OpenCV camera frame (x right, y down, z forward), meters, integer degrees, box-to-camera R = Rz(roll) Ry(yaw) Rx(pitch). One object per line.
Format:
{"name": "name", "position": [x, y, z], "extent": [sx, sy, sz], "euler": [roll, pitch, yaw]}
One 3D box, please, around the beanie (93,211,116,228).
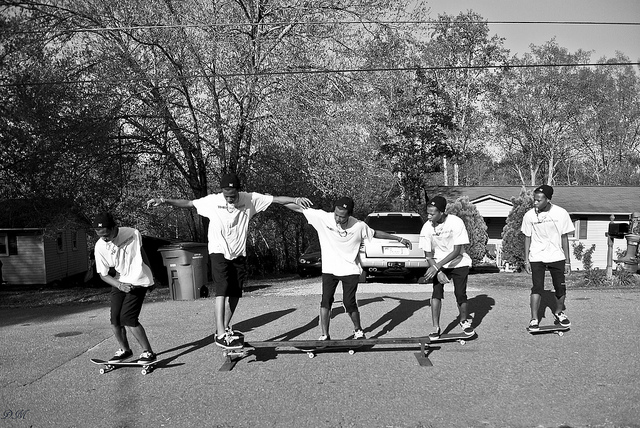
{"name": "beanie", "position": [-3.809, 0.095, 10.298], "extent": [0.338, 0.271, 0.244], "euler": [-2, 1, -17]}

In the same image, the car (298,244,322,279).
{"name": "car", "position": [-0.387, 1.921, 23.960], "extent": [0.796, 0.815, 1.951], "euler": [-2, -7, 1]}

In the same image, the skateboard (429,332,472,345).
{"name": "skateboard", "position": [2.545, 2.344, 11.199], "extent": [1.057, 0.188, 0.306], "euler": [-1, 12, -3]}

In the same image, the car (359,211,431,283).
{"name": "car", "position": [2.060, 0.747, 16.006], "extent": [1.375, 1.340, 2.540], "euler": [0, 2, 2]}

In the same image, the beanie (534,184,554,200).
{"name": "beanie", "position": [4.474, -0.441, 11.637], "extent": [0.310, 0.189, 0.271], "euler": [10, 2, 7]}

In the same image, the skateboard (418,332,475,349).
{"name": "skateboard", "position": [2.561, 2.345, 11.210], "extent": [1.340, 0.231, 0.355], "euler": [-1, 13, -1]}

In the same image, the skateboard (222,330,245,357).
{"name": "skateboard", "position": [-1.598, 2.424, 10.808], "extent": [0.376, 0.449, 0.563], "euler": [-2, 1, -13]}

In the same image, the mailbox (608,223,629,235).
{"name": "mailbox", "position": [8.567, 0.422, 16.749], "extent": [0.473, 0.339, 0.334], "euler": [-2, 1, 16]}

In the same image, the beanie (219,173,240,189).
{"name": "beanie", "position": [-1.705, -0.601, 10.882], "extent": [0.351, 0.281, 0.244], "euler": [-2, 1, -2]}

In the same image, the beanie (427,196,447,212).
{"name": "beanie", "position": [2.263, -0.217, 11.222], "extent": [0.315, 0.201, 0.248], "euler": [22, 8, -2]}

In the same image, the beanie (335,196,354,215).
{"name": "beanie", "position": [0.454, -0.167, 10.822], "extent": [0.304, 0.309, 0.292], "euler": [-2, 1, 1]}

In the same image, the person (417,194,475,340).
{"name": "person", "position": [2.437, 0.991, 11.244], "extent": [0.973, 2.683, 0.710], "euler": [-2, 2, 4]}

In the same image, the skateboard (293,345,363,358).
{"name": "skateboard", "position": [0.134, 2.567, 10.974], "extent": [1.139, 0.194, 0.241], "euler": [-1, 8, -1]}

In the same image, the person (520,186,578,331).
{"name": "person", "position": [4.535, 0.856, 11.621], "extent": [0.926, 2.820, 0.582], "euler": [-1, 2, 16]}

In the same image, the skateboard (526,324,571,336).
{"name": "skateboard", "position": [4.498, 2.245, 11.579], "extent": [0.902, 0.163, 0.277], "euler": [-2, 13, 3]}
